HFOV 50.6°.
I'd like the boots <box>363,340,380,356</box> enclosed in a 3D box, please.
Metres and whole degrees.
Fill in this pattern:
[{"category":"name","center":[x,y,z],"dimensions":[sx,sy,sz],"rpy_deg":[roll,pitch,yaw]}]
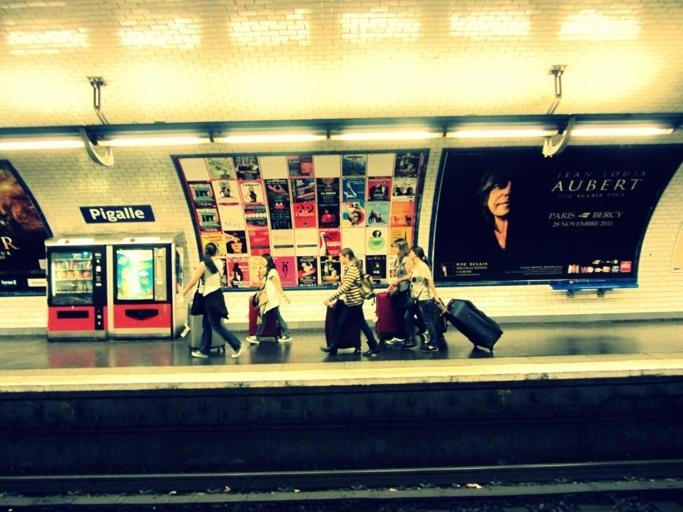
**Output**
[{"category":"boots","center":[0.555,1.546,12.201],"dimensions":[0.334,0.276,0.147],"rpy_deg":[1,25,22]}]

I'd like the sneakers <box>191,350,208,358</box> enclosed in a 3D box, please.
[{"category":"sneakers","center":[-2.415,1.675,12.305],"dimensions":[0.300,0.107,0.118],"rpy_deg":[12,16,7]}]

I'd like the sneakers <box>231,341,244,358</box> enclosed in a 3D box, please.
[{"category":"sneakers","center":[-1.705,1.532,12.110],"dimensions":[0.165,0.148,0.344],"rpy_deg":[34,29,-11]}]

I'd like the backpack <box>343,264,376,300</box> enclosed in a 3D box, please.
[{"category":"backpack","center":[0.378,0.424,12.126],"dimensions":[0.389,0.652,0.379],"rpy_deg":[1,17,44]}]

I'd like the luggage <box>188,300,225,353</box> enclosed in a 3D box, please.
[{"category":"luggage","center":[-2.242,1.323,12.630],"dimensions":[0.745,1.133,0.727],"rpy_deg":[1,-4,-24]}]

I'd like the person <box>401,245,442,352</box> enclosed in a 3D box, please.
[{"category":"person","center":[1.478,0.724,12.591],"dimensions":[0.681,1.771,0.766],"rpy_deg":[-1,10,4]}]

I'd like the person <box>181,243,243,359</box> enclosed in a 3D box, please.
[{"category":"person","center":[-2.191,0.771,12.098],"dimensions":[0.672,1.911,1.029],"rpy_deg":[-11,14,-41]}]

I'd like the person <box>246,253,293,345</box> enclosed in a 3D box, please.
[{"category":"person","center":[-1.334,0.782,13.075],"dimensions":[0.775,1.638,0.594],"rpy_deg":[-3,10,-7]}]

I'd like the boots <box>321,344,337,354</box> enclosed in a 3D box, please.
[{"category":"boots","center":[-0.223,1.584,12.302],"dimensions":[0.343,0.130,0.112],"rpy_deg":[9,5,17]}]

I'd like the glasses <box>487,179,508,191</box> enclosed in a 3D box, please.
[{"category":"glasses","center":[3.014,-1.334,13.832],"dimensions":[0.230,0.154,0.278],"rpy_deg":[-2,-14,-1]}]
